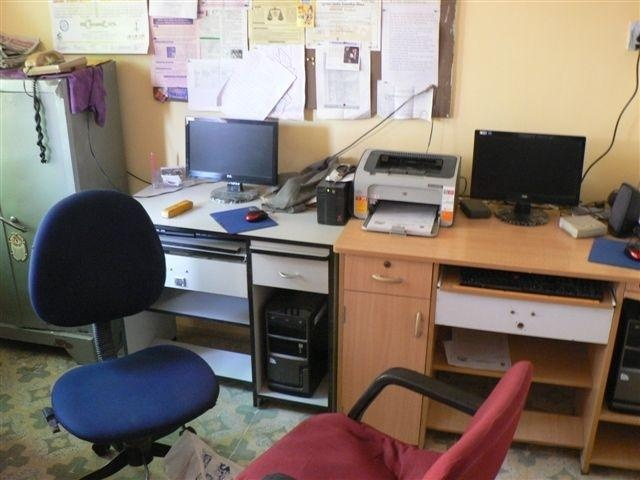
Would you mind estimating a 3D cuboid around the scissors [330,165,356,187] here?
[{"bbox_3d":[0.118,-0.330,2.555,0.090,0.033,0.125,5,27,17],"label":"scissors"}]

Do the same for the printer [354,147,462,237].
[{"bbox_3d":[0.410,-0.235,2.450,0.437,0.279,0.442,6,32,16],"label":"printer"}]

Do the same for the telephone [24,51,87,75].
[{"bbox_3d":[-1.402,-0.935,2.718,0.303,0.125,0.209,-14,26,-37],"label":"telephone"}]

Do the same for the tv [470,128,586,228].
[{"bbox_3d":[1.011,-0.302,2.489,0.424,0.383,0.235,5,24,15],"label":"tv"}]
